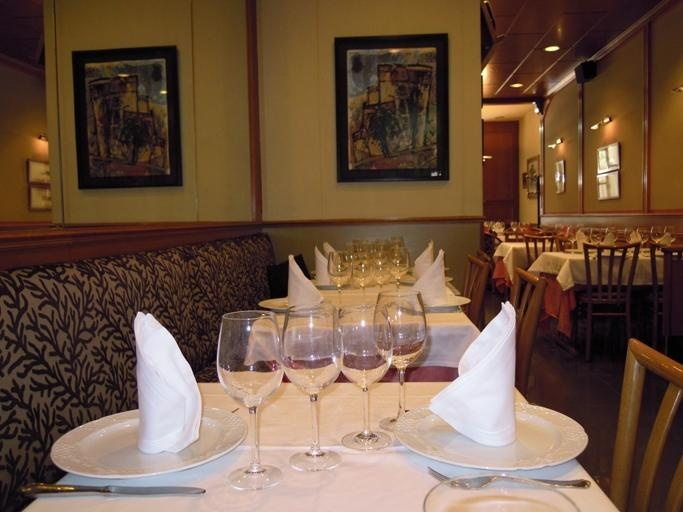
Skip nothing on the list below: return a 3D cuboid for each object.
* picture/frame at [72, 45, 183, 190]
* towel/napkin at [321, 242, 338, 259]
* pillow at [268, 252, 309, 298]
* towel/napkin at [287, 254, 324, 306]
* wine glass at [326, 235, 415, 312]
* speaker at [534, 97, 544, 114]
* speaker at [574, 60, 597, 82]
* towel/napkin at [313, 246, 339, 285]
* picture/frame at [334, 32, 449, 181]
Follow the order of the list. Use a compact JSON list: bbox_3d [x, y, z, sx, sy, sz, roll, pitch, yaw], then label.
[{"bbox_3d":[-1.597,-1.024,3.927,0.048,1.252,0.889,8,15,33],"label":"picture/frame"},{"bbox_3d":[-0.087,-0.023,3.753,0.110,0.160,0.164,0,-5,-5],"label":"towel/napkin"},{"bbox_3d":[-0.452,0.183,4.175,0.098,0.370,0.315,-6,8,42],"label":"pillow"},{"bbox_3d":[-0.175,0.123,2.644,0.182,0.348,0.237,1,-4,-6],"label":"towel/napkin"},{"bbox_3d":[0.181,0.080,3.130,0.224,0.333,0.807,-1,1,12],"label":"wine glass"},{"bbox_3d":[4.428,-3.370,11.970,0.232,0.345,0.098,5,14,19],"label":"speaker"},{"bbox_3d":[4.246,-3.293,9.287,0.205,0.340,0.429,-4,9,-3],"label":"speaker"},{"bbox_3d":[-0.099,0.042,3.307,0.170,0.393,0.219,0,2,-3],"label":"towel/napkin"},{"bbox_3d":[0.493,-1.418,4.886,1.051,1.548,0.058,0,4,2],"label":"picture/frame"}]
